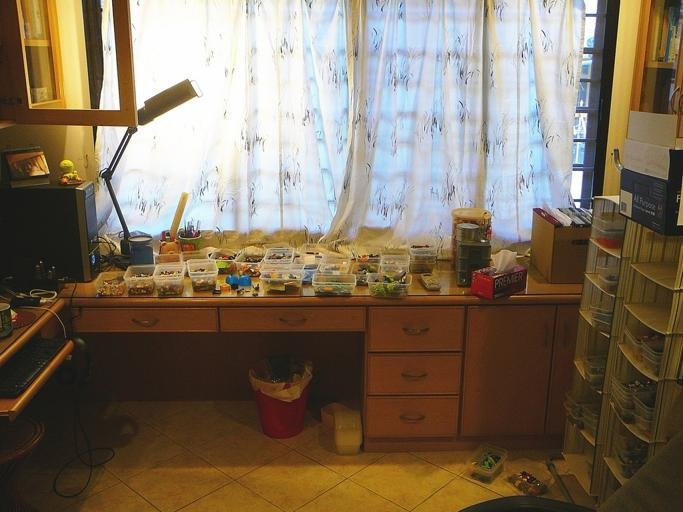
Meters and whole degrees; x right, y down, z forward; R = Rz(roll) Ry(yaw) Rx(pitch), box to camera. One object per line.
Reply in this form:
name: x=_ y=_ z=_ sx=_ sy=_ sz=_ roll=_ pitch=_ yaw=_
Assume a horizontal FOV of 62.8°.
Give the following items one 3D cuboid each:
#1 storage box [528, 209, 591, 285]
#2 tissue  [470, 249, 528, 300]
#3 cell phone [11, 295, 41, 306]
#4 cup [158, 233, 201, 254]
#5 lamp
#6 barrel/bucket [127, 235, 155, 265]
storage box: x=1.155 y=-0.061 z=3.131 sx=0.295 sy=0.405 sz=0.557 roll=0 pitch=10 yaw=5
tissue : x=0.795 y=0.103 z=2.872 sx=0.206 sy=0.204 sz=0.109 roll=-5 pitch=19 yaw=-17
cell phone: x=-1.500 y=0.214 z=2.653 sx=0.061 sy=0.025 sz=0.064 roll=7 pitch=12 yaw=-1
cup: x=-0.917 y=-0.082 z=3.173 sx=0.165 sy=0.076 sz=0.112 roll=-3 pitch=15 yaw=-9
lamp: x=-1.069 y=-0.481 z=3.133 sx=0.614 sy=1.129 sz=0.398 roll=-6 pitch=40 yaw=-20
barrel/bucket: x=-1.111 y=-0.031 z=3.074 sx=0.102 sy=0.177 sz=0.105 roll=3 pitch=17 yaw=-1
